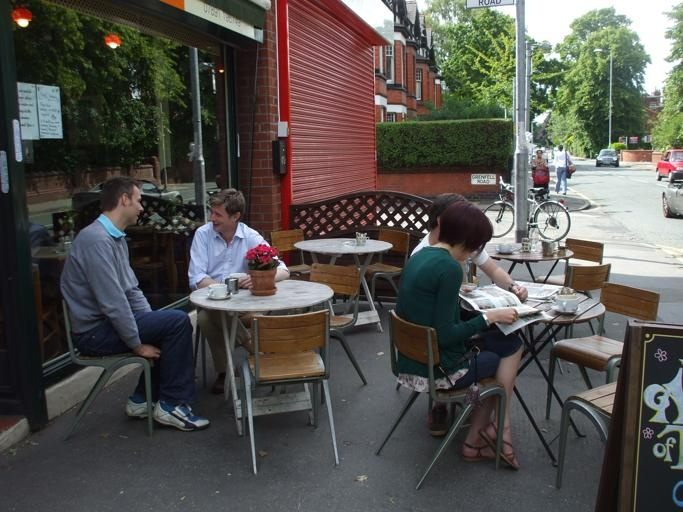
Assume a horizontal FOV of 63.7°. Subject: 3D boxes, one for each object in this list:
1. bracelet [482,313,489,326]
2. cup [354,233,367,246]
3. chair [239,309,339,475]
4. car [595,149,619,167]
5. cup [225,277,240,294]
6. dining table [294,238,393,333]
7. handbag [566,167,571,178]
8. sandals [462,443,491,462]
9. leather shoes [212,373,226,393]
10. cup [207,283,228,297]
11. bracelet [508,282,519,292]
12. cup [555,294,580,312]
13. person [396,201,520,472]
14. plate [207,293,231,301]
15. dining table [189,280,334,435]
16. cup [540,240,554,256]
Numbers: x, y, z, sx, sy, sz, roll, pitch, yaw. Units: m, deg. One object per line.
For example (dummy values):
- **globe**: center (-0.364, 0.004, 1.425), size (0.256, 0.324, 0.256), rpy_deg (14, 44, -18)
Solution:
- **bracelet**: center (0.998, 0.443, 3.792), size (0.068, 0.071, 0.072), rpy_deg (7, 1, 5)
- **cup**: center (0.258, -0.215, 7.426), size (0.134, 0.181, 0.181), rpy_deg (0, -3, 8)
- **chair**: center (-0.427, 1.127, 4.388), size (0.730, 1.411, 0.978), rpy_deg (-2, 22, -10)
- **car**: center (24.010, -8.717, 49.510), size (1.693, 1.485, 1.311), rpy_deg (7, 14, 36)
- **cup**: center (-0.943, 0.262, 4.776), size (0.114, 0.139, 0.120), rpy_deg (1, 6, 0)
- **dining table**: center (0.088, 0.243, 7.629), size (1.143, 1.201, 1.251), rpy_deg (6, 16, 30)
- **handbag**: center (8.952, -3.244, 21.526), size (0.129, 0.410, 0.295), rpy_deg (1, -8, -7)
- **sandals**: center (1.024, 1.482, 4.166), size (0.210, 0.101, 0.103), rpy_deg (-2, 5, -2)
- **leather shoes**: center (-1.195, 1.254, 5.435), size (0.111, 0.125, 0.299), rpy_deg (0, 1, 0)
- **cup**: center (-1.032, 0.283, 4.597), size (0.131, 0.093, 0.106), rpy_deg (-5, 10, -21)
- **bracelet**: center (1.424, 0.260, 4.541), size (0.059, 0.074, 0.046), rpy_deg (-11, 11, -2)
- **cup**: center (1.765, 0.372, 4.263), size (0.195, 0.134, 0.125), rpy_deg (-3, 11, -9)
- **person**: center (0.865, 0.567, 4.070), size (0.918, 1.945, 0.605), rpy_deg (-1, 11, 0)
- **plate**: center (-1.028, 0.333, 4.592), size (0.183, 0.047, 0.131), rpy_deg (-2, 11, -6)
- **dining table**: center (-0.688, 0.881, 4.951), size (1.197, 1.183, 1.173), rpy_deg (-4, 13, -22)
- **cup**: center (2.499, -0.090, 6.670), size (0.172, 0.193, 0.149), rpy_deg (-1, 4, -19)
